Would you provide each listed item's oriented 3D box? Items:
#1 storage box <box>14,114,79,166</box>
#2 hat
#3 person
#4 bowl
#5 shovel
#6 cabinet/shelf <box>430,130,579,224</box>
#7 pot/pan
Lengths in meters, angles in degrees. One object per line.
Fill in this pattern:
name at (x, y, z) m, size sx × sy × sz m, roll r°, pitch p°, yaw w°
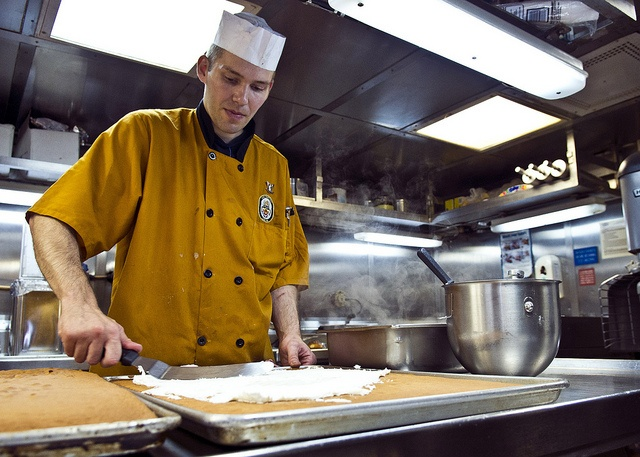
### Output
storage box at (-1.647, -0.474, 2.991) m, size 0.334 × 0.343 × 0.355 m, roll -3°, pitch -9°, yaw 43°
hat at (-0.258, -0.656, 1.648) m, size 0.215 × 0.133 × 0.209 m, roll 32°, pitch 16°, yaw 36°
person at (-0.399, -0.155, 1.561) m, size 0.938 × 1.217 × 0.387 m, roll 5°, pitch -12°, yaw -39°
bowl at (0.283, 0.411, 1.692) m, size 0.578 × 0.133 × 0.566 m, roll -4°, pitch -13°, yaw -1°
shovel at (-0.378, 0.375, 1.316) m, size 0.460 × 0.065 × 0.065 m, roll 13°, pitch 18°, yaw -24°
cabinet/shelf at (1.399, -0.329, 3.705) m, size 0.198 × 0.358 × 1.478 m, roll -8°, pitch -7°, yaw -26°
pot/pan at (0.536, 0.303, 1.397) m, size 0.356 × 0.272 × 0.315 m, roll 0°, pitch -13°, yaw -2°
